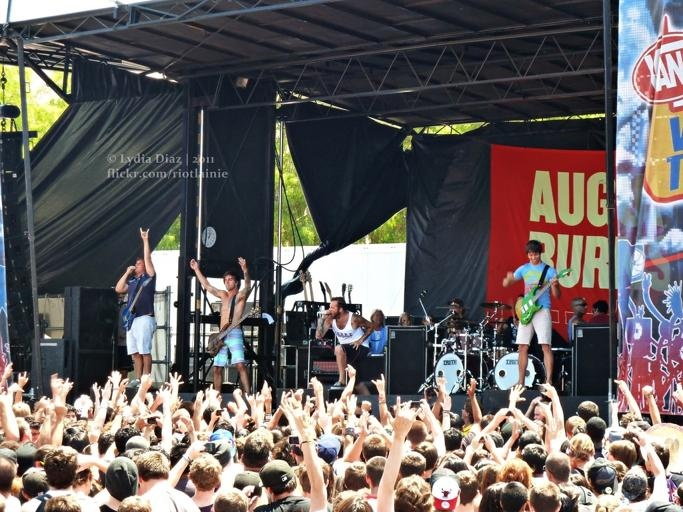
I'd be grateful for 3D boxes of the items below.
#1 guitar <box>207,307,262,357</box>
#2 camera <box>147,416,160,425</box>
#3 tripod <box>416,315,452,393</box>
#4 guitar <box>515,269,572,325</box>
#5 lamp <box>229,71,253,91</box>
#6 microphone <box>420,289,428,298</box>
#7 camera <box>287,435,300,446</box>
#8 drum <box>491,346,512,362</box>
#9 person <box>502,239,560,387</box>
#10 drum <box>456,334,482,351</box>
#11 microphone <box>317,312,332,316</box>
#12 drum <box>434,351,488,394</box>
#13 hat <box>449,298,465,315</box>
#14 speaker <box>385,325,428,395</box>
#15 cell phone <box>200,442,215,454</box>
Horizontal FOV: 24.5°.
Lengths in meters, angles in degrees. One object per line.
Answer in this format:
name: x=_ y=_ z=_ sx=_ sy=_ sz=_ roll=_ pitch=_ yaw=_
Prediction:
guitar: x=-1.686 y=1.155 z=23.808 sx=0.702 sy=0.738 sz=0.621 roll=2 pitch=-8 yaw=-7
camera: x=-2.088 y=1.829 z=17.351 sx=0.123 sy=0.092 sz=0.128 roll=0 pitch=-7 yaw=-5
tripod: x=1.314 y=1.472 z=22.764 sx=0.398 sy=1.104 sz=0.519 roll=18 pitch=-30 yaw=0
guitar: x=2.693 y=0.614 z=21.736 sx=0.560 sy=0.660 sz=0.129 roll=-4 pitch=-9 yaw=33
lamp: x=-1.616 y=-2.788 z=25.345 sx=0.390 sy=0.230 sz=0.101 roll=8 pitch=-11 yaw=-40
microphone: x=1.364 y=0.644 z=26.882 sx=0.137 sy=0.144 sz=0.226 roll=2 pitch=-16 yaw=-4
camera: x=-0.502 y=1.880 z=15.706 sx=0.091 sy=0.106 sz=0.175 roll=0 pitch=-8 yaw=7
drum: x=2.309 y=1.452 z=23.166 sx=0.205 sy=0.207 sz=0.216 roll=-1 pitch=-24 yaw=11
person: x=2.608 y=0.810 z=21.770 sx=0.837 sy=2.090 sz=0.700 roll=-2 pitch=-7 yaw=29
drum: x=1.853 y=1.314 z=23.220 sx=0.280 sy=0.260 sz=0.236 roll=12 pitch=-17 yaw=-24
microphone: x=-0.282 y=0.883 z=23.865 sx=0.088 sy=0.040 sz=0.140 roll=-3 pitch=-3 yaw=30
drum: x=1.632 y=1.775 z=23.198 sx=0.587 sy=0.616 sz=0.375 roll=-1 pitch=-14 yaw=22
hat: x=1.686 y=0.797 z=23.744 sx=0.178 sy=0.236 sz=0.242 roll=-5 pitch=-22 yaw=23
speaker: x=0.979 y=1.676 z=23.139 sx=0.574 sy=1.128 sz=0.625 roll=-8 pitch=-10 yaw=-2
cell phone: x=-1.390 y=2.022 z=16.203 sx=0.097 sy=0.132 sz=0.186 roll=0 pitch=-4 yaw=13
